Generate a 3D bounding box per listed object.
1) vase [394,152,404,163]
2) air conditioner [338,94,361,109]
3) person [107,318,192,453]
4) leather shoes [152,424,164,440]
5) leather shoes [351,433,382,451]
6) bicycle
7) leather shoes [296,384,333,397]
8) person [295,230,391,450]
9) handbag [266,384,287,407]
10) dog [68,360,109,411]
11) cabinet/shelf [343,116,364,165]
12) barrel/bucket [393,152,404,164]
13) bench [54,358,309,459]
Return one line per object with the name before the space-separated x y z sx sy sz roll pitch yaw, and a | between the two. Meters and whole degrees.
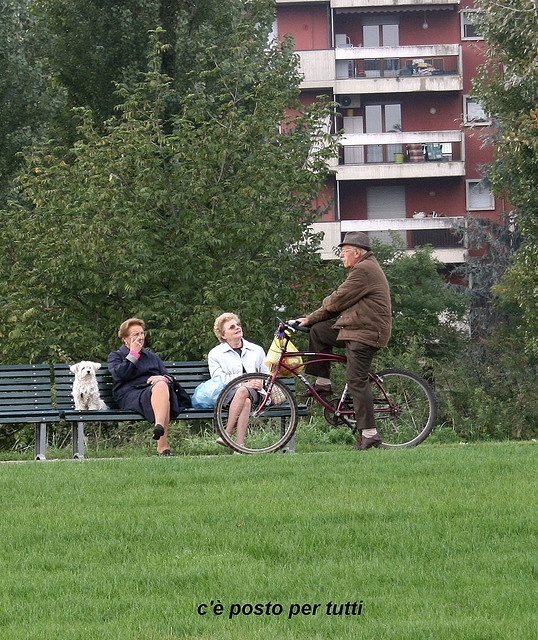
vase | 3.950 -4.891 49.461 0.290 0.293 0.299 0 -3 5
air conditioner | 2.511 -6.737 50.623 0.737 0.472 0.465 -2 14 1
person | -1.411 0.829 19.381 0.768 1.590 1.261 -9 15 -27
leather shoes | -1.273 1.301 18.855 0.084 0.218 0.079 5 43 -14
leather shoes | 1.111 1.388 18.436 0.323 0.168 0.124 -2 2 -4
bicycle | 0.652 0.822 18.777 2.549 1.547 1.077 -2 13 0
leather shoes | 0.522 0.811 18.666 0.420 0.202 0.153 1 -1 10
person | 0.946 0.233 18.534 0.894 2.368 0.802 7 16 33
handbag | 0.114 0.882 18.783 0.210 0.216 0.174 32 -45 -29
dog | -2.238 0.808 19.906 0.368 0.632 0.530 -1 1 -7
cabinet/shelf | 2.578 -5.564 49.811 0.781 1.516 0.815 1 26 8
barrel/bucket | 3.956 -4.887 49.463 0.290 0.293 0.299 0 -3 0
bench | -0.972 1.097 20.006 3.269 1.191 0.931 0 2 -16
